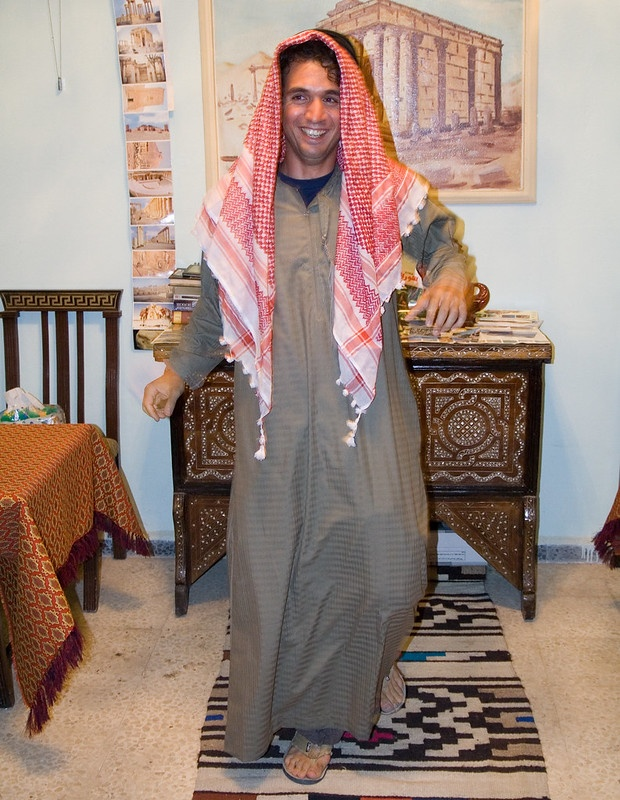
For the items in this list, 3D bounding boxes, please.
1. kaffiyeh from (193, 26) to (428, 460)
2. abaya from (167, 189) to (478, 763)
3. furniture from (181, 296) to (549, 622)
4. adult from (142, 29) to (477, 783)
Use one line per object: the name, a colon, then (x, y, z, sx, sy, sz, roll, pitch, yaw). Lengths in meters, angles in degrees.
kaffiyeh: (0.005, -0.318, 1.547, 0.482, 0.877, 0.258, 0, 12, 8)
abaya: (0.017, 0.125, 1.576, 0.638, 1.511, 0.579, -1, 14, -1)
furniture: (0.153, 0.141, 1.959, 1.173, 0.854, 0.459, 0, 11, 2)
adult: (-0.006, 0.042, 1.639, 0.768, 1.627, 0.543, 0, 1, 11)
